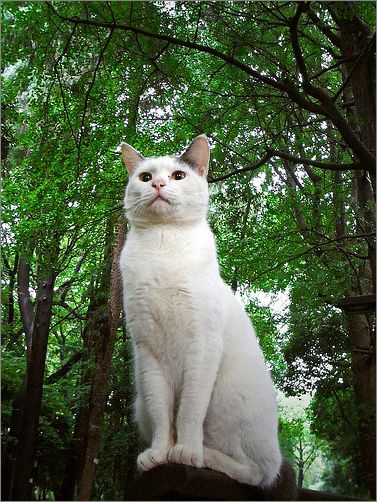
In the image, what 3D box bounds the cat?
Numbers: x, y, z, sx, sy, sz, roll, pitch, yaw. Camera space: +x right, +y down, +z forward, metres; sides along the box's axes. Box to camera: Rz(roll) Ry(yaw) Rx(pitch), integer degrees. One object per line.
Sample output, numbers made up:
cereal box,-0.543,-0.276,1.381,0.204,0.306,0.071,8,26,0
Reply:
cat,0.040,0.222,3.162,0.995,2.528,0.690,20,-35,-30
